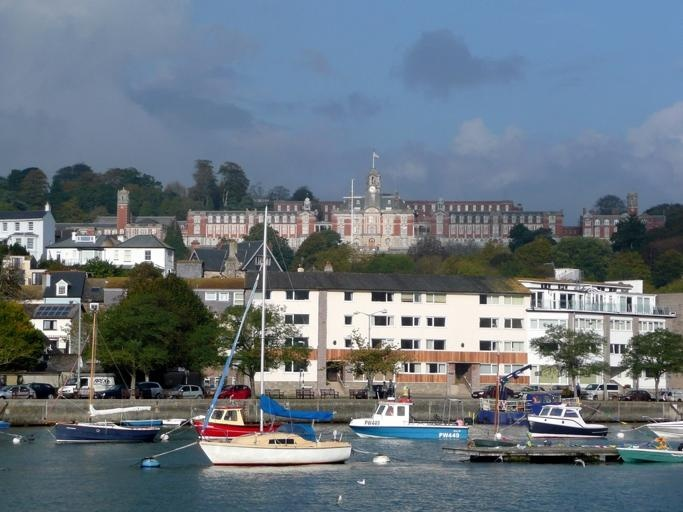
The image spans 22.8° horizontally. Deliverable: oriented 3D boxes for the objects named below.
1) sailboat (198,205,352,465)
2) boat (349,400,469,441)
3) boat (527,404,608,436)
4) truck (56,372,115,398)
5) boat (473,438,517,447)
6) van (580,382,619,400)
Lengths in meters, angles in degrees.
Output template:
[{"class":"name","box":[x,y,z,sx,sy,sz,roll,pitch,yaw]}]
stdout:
[{"class":"sailboat","box":[-5.972,7.428,142.221,13.281,19.962,3.982,0,-2,-19]},{"class":"boat","box":[6.318,14.933,154.181,11.996,4.381,4.496,2,-11,-10]},{"class":"boat","box":[20.150,14.831,152.713,7.513,2.997,2.857,5,-10,-12]},{"class":"truck","box":[-24.608,12.297,161.855,4.117,2.012,2.397,3,-4,-17]},{"class":"boat","box":[12.870,16.100,146.282,3.538,0.686,2.564,0,-6,2]},{"class":"van","box":[26.138,13.639,172.773,2.577,1.219,1.836,3,-6,-10]}]
